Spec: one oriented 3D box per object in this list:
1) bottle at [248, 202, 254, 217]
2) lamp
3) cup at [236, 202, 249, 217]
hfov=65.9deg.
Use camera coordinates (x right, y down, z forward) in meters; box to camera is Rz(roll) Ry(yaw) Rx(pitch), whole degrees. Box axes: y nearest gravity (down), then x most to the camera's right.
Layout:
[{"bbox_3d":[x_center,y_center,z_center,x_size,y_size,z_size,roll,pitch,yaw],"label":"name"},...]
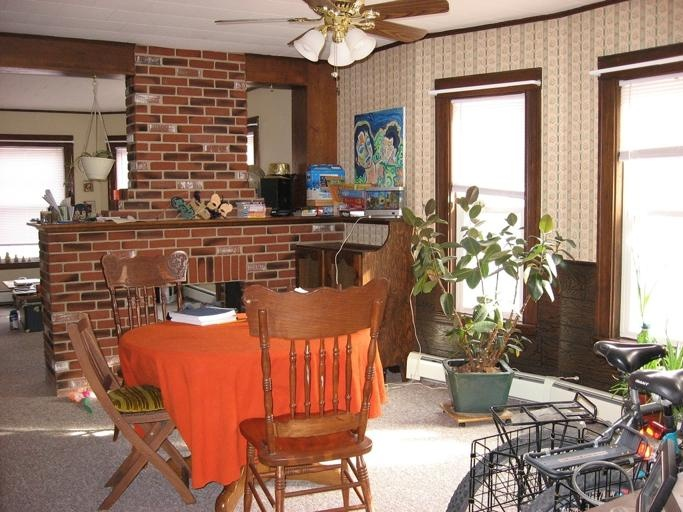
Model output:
[{"bbox_3d":[-0.890,-0.451,5.132,0.029,0.122,0.050,4,9,39],"label":"bottle"},{"bbox_3d":[-0.031,-1.129,2.927,0.306,0.189,0.335,-3,4,2],"label":"lamp"},{"bbox_3d":[-0.969,-0.458,5.207,0.139,0.142,0.136,1,7,0],"label":"cup"}]
